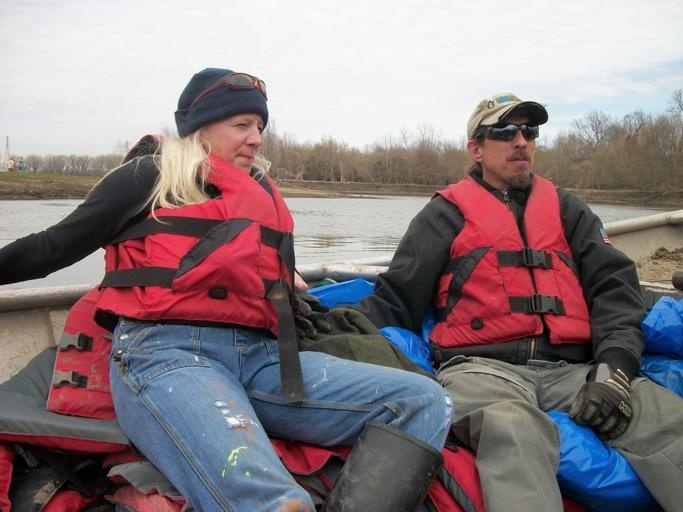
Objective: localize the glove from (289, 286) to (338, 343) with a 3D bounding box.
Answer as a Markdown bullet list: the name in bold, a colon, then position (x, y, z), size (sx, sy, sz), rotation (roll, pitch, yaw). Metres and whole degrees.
- **glove**: position (-0.171, 0.304, 3.194), size (0.265, 0.112, 0.208), rotation (31, 36, 29)

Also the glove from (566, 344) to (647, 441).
- **glove**: position (1.215, 0.615, 2.827), size (0.424, 0.238, 0.188), rotation (-49, 3, -38)
